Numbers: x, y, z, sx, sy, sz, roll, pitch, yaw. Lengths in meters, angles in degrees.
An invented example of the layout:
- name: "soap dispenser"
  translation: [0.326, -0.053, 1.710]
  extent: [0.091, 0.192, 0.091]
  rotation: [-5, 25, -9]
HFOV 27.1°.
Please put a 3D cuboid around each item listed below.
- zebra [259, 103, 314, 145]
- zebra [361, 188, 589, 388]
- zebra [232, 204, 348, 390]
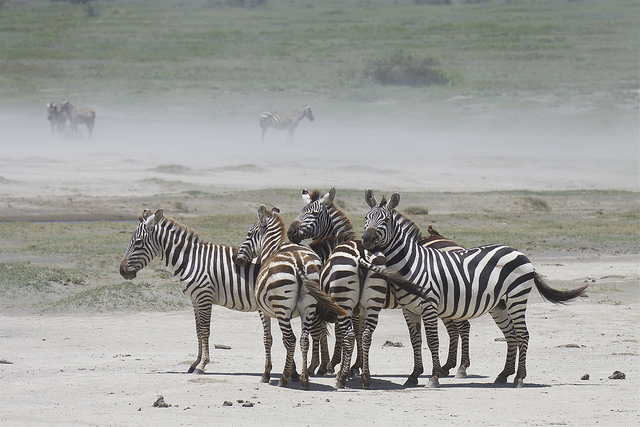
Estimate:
- name: "zebra"
  translation: [-2.430, -6.734, 98.826]
  extent: [3.887, 3.149, 3.653]
  rotation: [0, 12, -1]
- name: "zebra"
  translation: [6.147, 3.336, 56.591]
  extent: [10.234, 7.351, 2.621]
  rotation: [6, -7, -10]
- name: "zebra"
  translation: [-1.104, 3.681, 56.169]
  extent: [4.488, 7.219, 10.664]
  rotation: [2, -2, -1]
